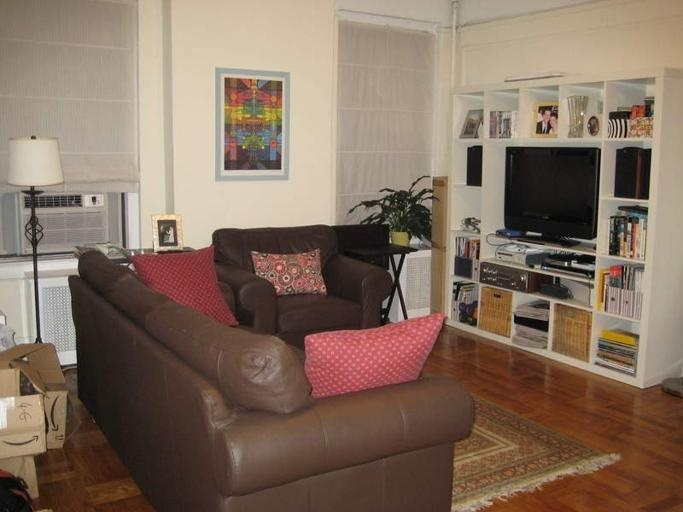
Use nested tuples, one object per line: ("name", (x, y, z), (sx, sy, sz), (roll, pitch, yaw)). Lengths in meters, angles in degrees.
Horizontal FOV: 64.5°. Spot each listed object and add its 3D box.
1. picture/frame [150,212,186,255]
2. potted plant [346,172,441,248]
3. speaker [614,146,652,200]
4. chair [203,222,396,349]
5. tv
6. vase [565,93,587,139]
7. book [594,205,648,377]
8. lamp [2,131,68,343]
("picture/frame", (-1.455, -0.188, 4.545), (0.385, 0.523, 0.027), (-1, 0, -21))
("potted plant", (0.617, -0.493, 5.971), (0.831, 0.584, 0.829), (0, 0, 2))
("speaker", (2.280, -0.650, 4.237), (0.111, 0.393, 0.348), (-4, 12, -20))
("chair", (-0.450, 0.196, 4.738), (1.455, 1.019, 1.012), (-3, 5, -26))
("tv", (1.915, -0.543, 4.824), (0.173, 0.744, 0.855), (-7, 13, -42))
("vase", (2.004, -1.183, 4.609), (0.159, 0.343, 0.096), (5, 12, 22))
("book", (2.298, 0.262, 4.364), (0.386, 1.310, 0.311), (11, 15, 42))
("lamp", (-2.263, -0.088, 4.074), (0.338, 1.583, 0.910), (-6, 13, -30))
